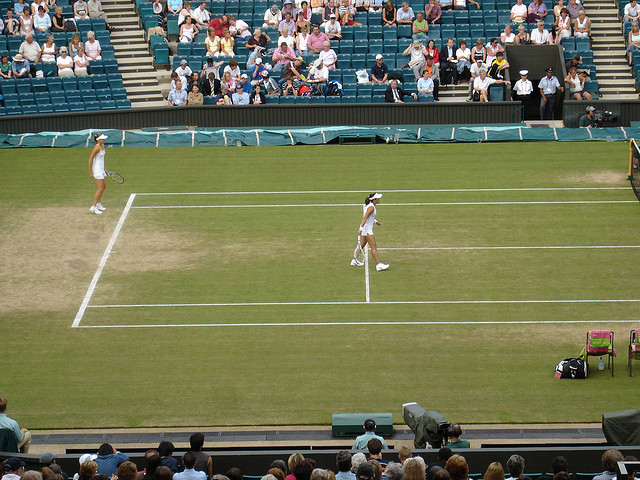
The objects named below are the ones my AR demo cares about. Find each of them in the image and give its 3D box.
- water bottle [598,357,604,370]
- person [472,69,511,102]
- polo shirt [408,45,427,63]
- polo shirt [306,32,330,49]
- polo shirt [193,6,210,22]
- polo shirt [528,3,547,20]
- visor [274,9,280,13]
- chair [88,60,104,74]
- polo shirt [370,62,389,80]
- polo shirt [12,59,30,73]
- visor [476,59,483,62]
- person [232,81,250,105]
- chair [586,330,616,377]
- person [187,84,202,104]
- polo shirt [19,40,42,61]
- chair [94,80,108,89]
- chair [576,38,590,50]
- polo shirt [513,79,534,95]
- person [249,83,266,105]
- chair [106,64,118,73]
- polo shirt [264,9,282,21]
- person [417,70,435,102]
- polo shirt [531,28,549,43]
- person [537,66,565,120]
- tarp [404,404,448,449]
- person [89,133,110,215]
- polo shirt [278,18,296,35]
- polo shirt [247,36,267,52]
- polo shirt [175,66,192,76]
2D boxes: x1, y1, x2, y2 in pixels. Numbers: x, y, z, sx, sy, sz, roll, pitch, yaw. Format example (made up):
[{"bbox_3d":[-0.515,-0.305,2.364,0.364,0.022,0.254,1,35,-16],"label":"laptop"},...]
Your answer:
[{"bbox_3d":[7.631,3.364,43.630,0.158,0.246,0.359,-3,9,9],"label":"water bottle"},{"bbox_3d":[6.144,-5.761,59.091,1.178,1.131,0.793,-11,12,-37],"label":"person"},{"bbox_3d":[3.627,-6.994,60.117,0.971,0.766,0.503,-1,7,5],"label":"polo shirt"},{"bbox_3d":[-0.082,-7.603,60.968,1.150,0.759,0.526,0,5,1],"label":"polo shirt"},{"bbox_3d":[-4.685,-8.870,62.711,0.784,0.588,0.382,-8,11,-24],"label":"polo shirt"},{"bbox_3d":[8.422,-8.896,62.256,0.799,0.492,0.390,3,-1,9],"label":"polo shirt"},{"bbox_3d":[-1.697,-8.934,62.195,0.151,0.099,0.157,9,20,1],"label":"visor"},{"bbox_3d":[-8.511,-6.570,60.642,0.499,0.517,0.528,-2,11,-13],"label":"chair"},{"bbox_3d":[2.174,-6.356,59.937,1.035,0.792,0.491,0,6,-2],"label":"polo shirt"},{"bbox_3d":[-11.278,-6.577,60.107,0.878,0.537,0.435,-4,14,-9],"label":"polo shirt"},{"bbox_3d":[5.917,-6.714,59.612,0.181,0.114,0.176,9,17,32],"label":"visor"},{"bbox_3d":[-2.934,-5.401,58.640,0.593,0.786,0.734,-5,10,-2],"label":"person"},{"bbox_3d":[7.512,2.869,43.072,0.727,1.066,0.681,1,37,11],"label":"chair"},{"bbox_3d":[-4.629,-5.362,58.650,0.515,0.730,0.271,-5,10,-6],"label":"person"},{"bbox_3d":[-11.070,-7.211,60.823,1.071,0.871,0.710,-7,12,-31],"label":"polo shirt"},{"bbox_3d":[-8.263,-5.879,60.153,0.343,0.368,0.369,-1,9,-10],"label":"chair"},{"bbox_3d":[9.989,-7.498,61.121,0.650,0.529,0.426,0,4,0],"label":"chair"},{"bbox_3d":[7.449,-5.669,58.989,0.969,0.631,0.487,0,15,6],"label":"polo shirt"},{"bbox_3d":[-2.344,-5.399,58.743,0.581,0.737,0.717,-3,10,4],"label":"person"},{"bbox_3d":[-7.908,-6.548,60.907,0.599,0.437,0.282,1,21,-1],"label":"chair"},{"bbox_3d":[-1.856,-8.872,62.370,0.806,0.487,0.303,-2,39,-4],"label":"polo shirt"},{"bbox_3d":[3.849,-5.723,59.121,0.558,1.109,0.815,-4,10,2],"label":"person"},{"bbox_3d":[8.363,-7.852,61.011,0.965,0.593,0.443,1,12,7],"label":"polo shirt"},{"bbox_3d":[8.575,-5.457,59.669,0.866,1.887,1.179,-3,10,8],"label":"person"},{"bbox_3d":[2.488,4.626,40.644,0.554,0.799,1.521,-2,14,-19],"label":"tarp"},{"bbox_3d":[-7.108,-2.102,51.010,0.739,2.596,1.495,-6,10,-8],"label":"person"},{"bbox_3d":[-1.284,-8.246,61.702,0.615,0.574,0.710,-4,10,-4],"label":"polo shirt"},{"bbox_3d":[-2.416,-7.579,60.965,0.762,0.412,0.477,-4,10,-5],"label":"polo shirt"},{"bbox_3d":[-5.126,-6.327,59.642,0.817,0.342,0.553,-2,5,-11],"label":"polo shirt"}]
